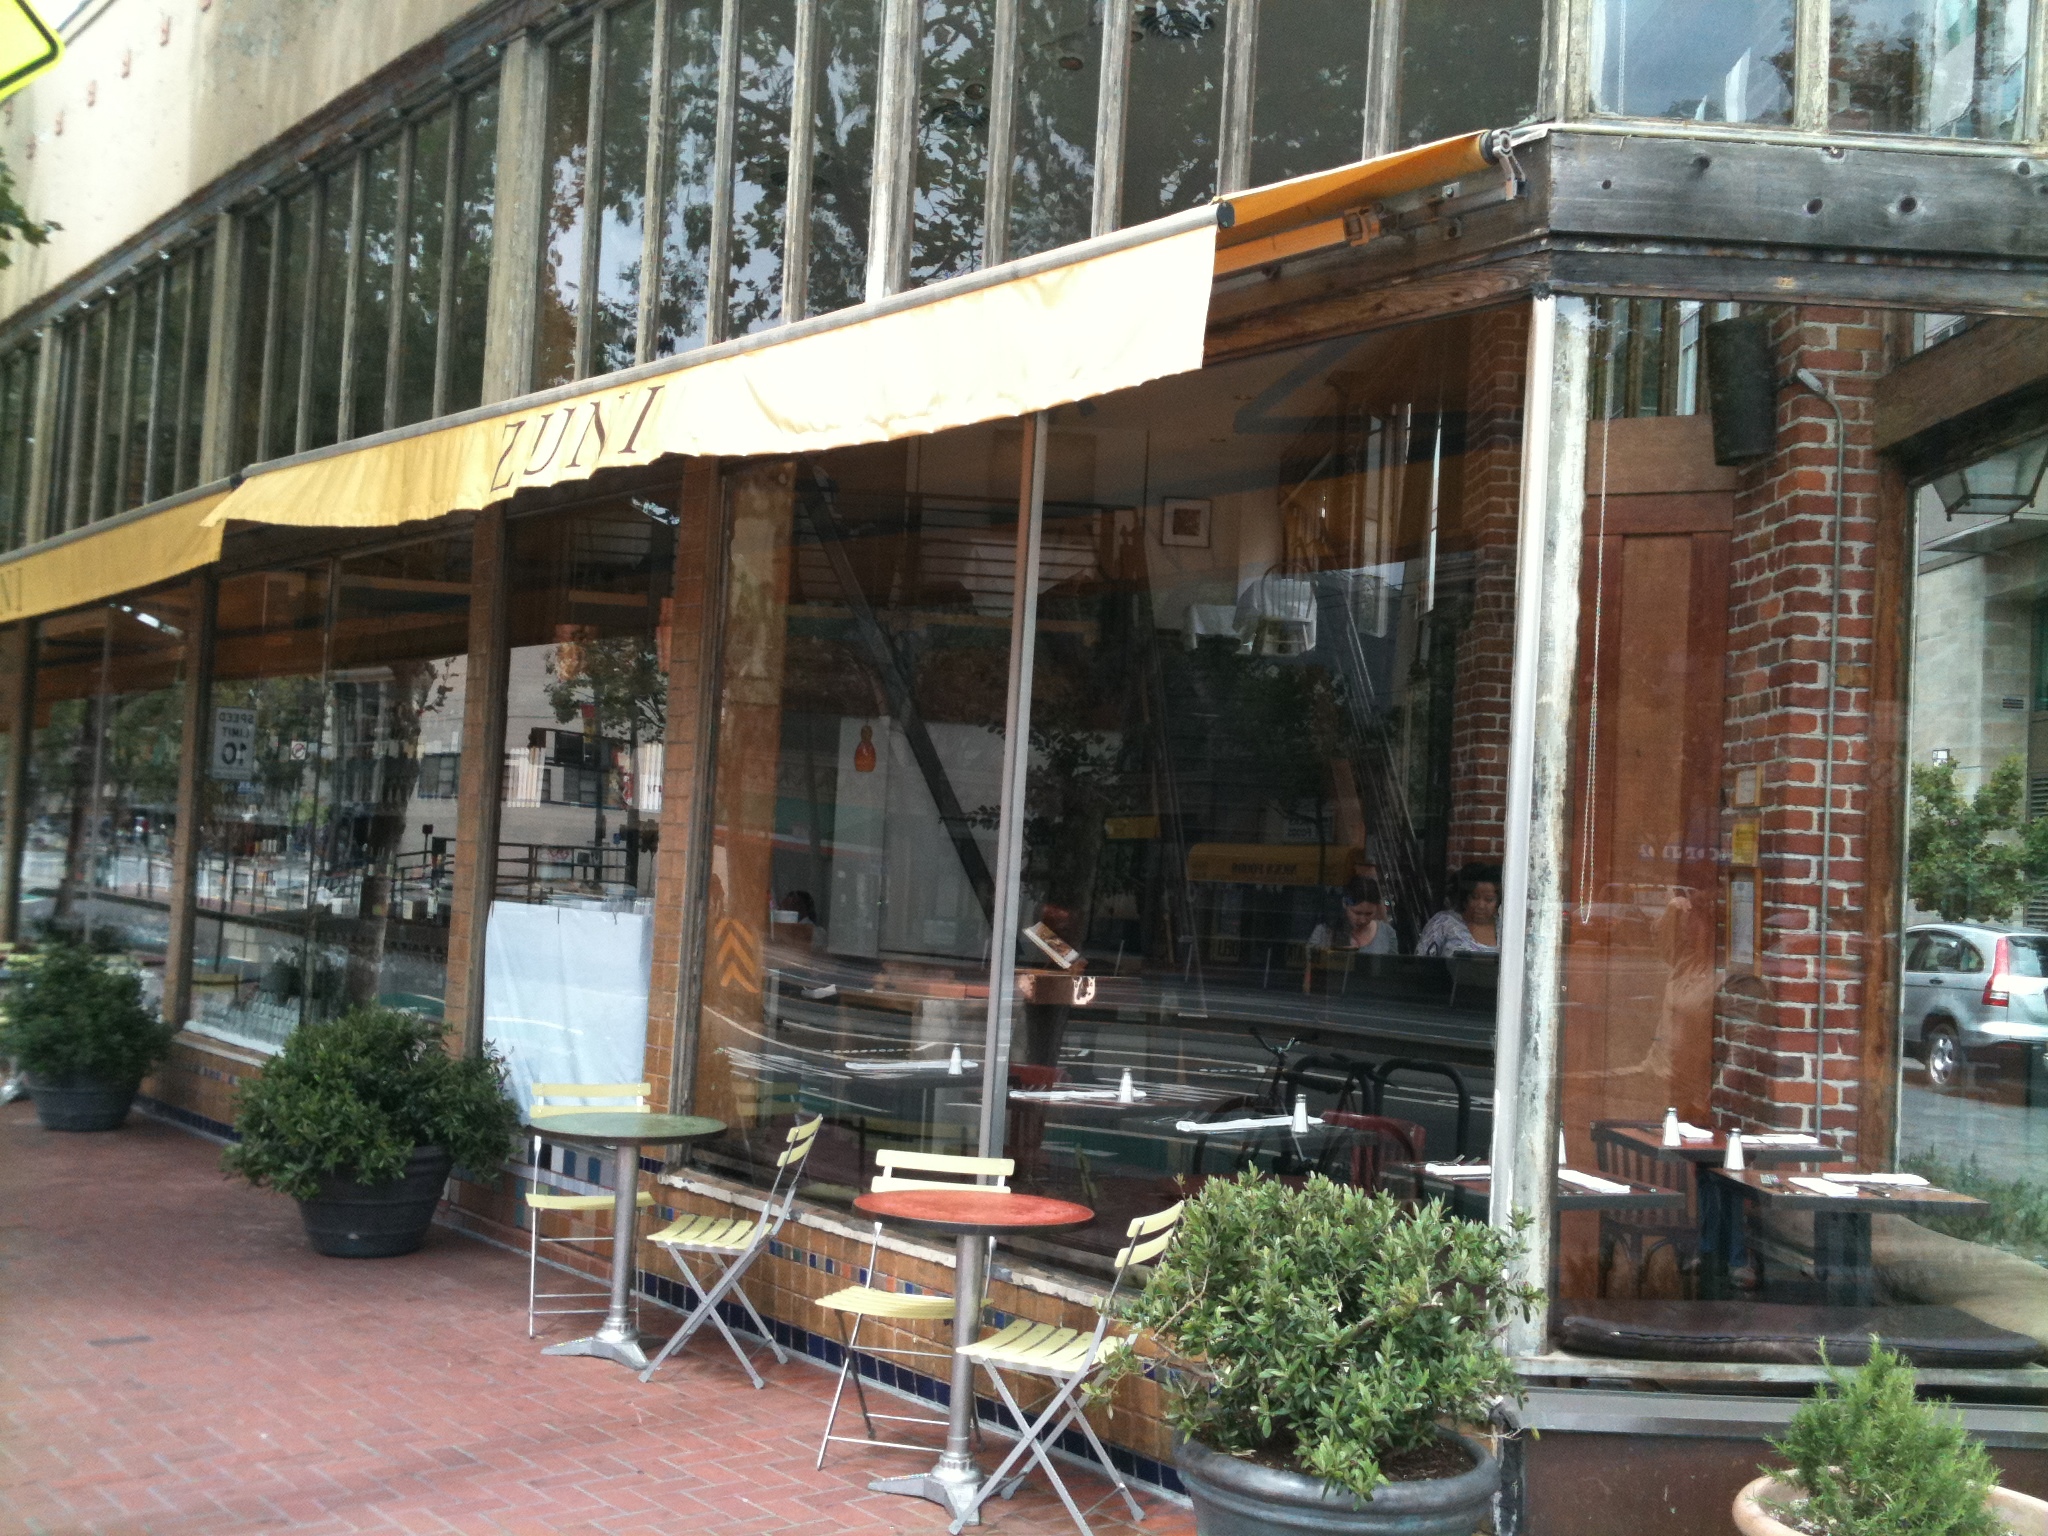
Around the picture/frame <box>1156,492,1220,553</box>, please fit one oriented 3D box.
[{"bbox_3d":[0.774,-1.119,10.791,0.273,0.262,0.028,-1,-4,40],"label":"picture/frame"}]

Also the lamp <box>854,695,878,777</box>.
[{"bbox_3d":[-0.795,-0.099,11.797,0.053,0.271,0.231,0,3,-27],"label":"lamp"}]

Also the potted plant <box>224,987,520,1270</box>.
[{"bbox_3d":[-3.739,2.054,13.498,1.382,1.300,1.343,2,-2,-44],"label":"potted plant"}]

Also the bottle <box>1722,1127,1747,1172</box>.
[{"bbox_3d":[2.912,1.567,9.509,0.086,0.176,0.020,1,3,-9],"label":"bottle"}]

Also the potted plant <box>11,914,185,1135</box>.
[{"bbox_3d":[-6.987,2.031,17.608,1.173,1.387,1.226,1,-3,-22],"label":"potted plant"}]

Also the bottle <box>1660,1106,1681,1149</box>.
[{"bbox_3d":[2.647,1.470,9.497,0.077,0.162,0.014,1,3,-8],"label":"bottle"}]
